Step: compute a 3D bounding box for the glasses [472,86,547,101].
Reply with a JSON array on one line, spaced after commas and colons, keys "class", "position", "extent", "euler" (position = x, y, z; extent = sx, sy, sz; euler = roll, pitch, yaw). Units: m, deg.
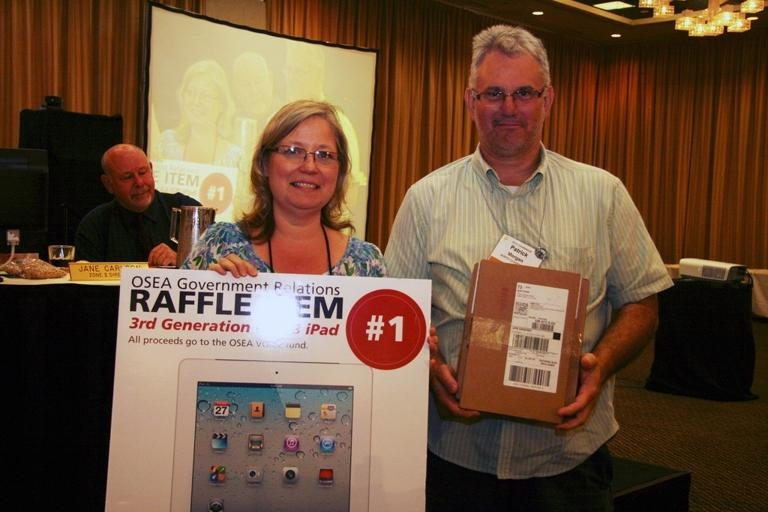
[{"class": "glasses", "position": [0.452, -0.592, 2.235], "extent": [0.252, 0.058, 0.051], "euler": [3, 7, 8]}]

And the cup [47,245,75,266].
[{"class": "cup", "position": [-1.566, -0.017, 3.023], "extent": [0.125, 0.137, 0.122], "euler": [2, 2, 0]}]

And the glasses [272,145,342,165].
[{"class": "glasses", "position": [-0.278, -0.350, 2.127], "extent": [0.221, 0.066, 0.026], "euler": [2, 7, -2]}]

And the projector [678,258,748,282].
[{"class": "projector", "position": [2.986, 0.130, 5.630], "extent": [0.456, 0.162, 0.264], "euler": [5, 1, 33]}]
